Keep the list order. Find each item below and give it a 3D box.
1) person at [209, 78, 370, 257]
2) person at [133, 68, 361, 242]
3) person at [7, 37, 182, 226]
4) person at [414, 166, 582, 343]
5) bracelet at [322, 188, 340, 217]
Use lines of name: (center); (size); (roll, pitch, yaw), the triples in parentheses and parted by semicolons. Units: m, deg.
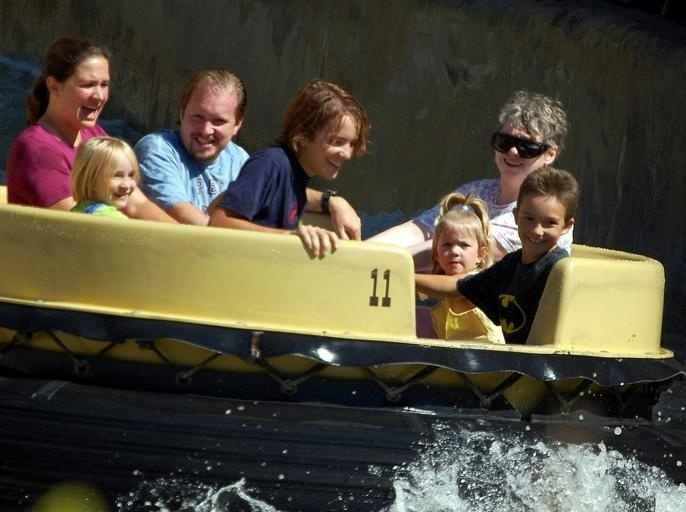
person: (-0.174, -0.348, 5.112); (0.659, 0.727, 0.649); (3, 13, -23)
person: (-0.469, -0.386, 5.295); (0.809, 0.712, 1.099); (9, 4, -41)
person: (-1.161, -0.565, 5.513); (0.937, 0.844, 0.650); (4, 5, 27)
person: (0.665, 0.021, 5.153); (0.510, 0.624, 0.737); (1, 15, -32)
bracelet: (-0.067, -0.242, 5.622); (0.075, 0.109, 0.101); (6, -14, 17)
